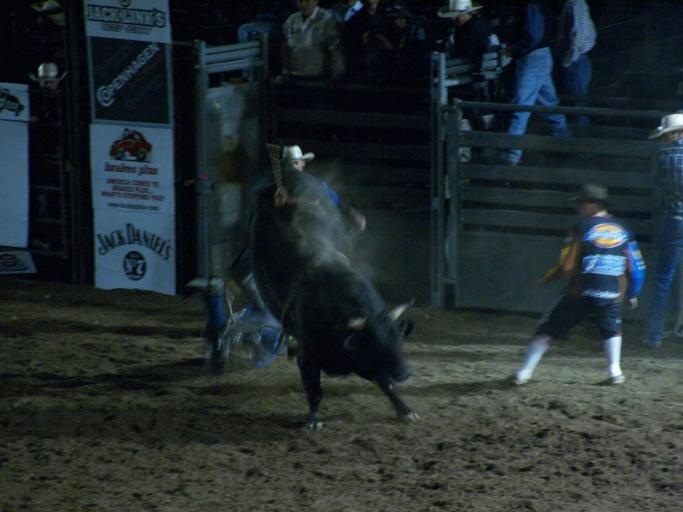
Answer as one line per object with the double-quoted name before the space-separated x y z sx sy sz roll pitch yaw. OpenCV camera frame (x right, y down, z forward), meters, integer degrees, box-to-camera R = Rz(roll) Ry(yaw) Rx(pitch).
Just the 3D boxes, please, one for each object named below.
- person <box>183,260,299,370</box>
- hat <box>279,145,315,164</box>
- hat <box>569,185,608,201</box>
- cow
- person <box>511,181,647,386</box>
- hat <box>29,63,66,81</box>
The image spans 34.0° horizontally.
"person" -1.216 0.715 13.638 1.303 1.330 0.666 -25 -43 31
"hat" -0.392 -1.202 13.130 0.616 0.199 0.374 -1 6 -16
"hat" 2.799 -0.726 12.700 0.372 0.131 0.251 7 7 28
"cow" -0.096 0.464 11.616 1.714 2.781 0.778 9 10 44
"person" 2.752 0.527 12.640 1.252 1.964 0.359 3 8 9
"hat" -5.064 -3.149 19.127 0.628 0.245 0.443 -2 -3 -4
